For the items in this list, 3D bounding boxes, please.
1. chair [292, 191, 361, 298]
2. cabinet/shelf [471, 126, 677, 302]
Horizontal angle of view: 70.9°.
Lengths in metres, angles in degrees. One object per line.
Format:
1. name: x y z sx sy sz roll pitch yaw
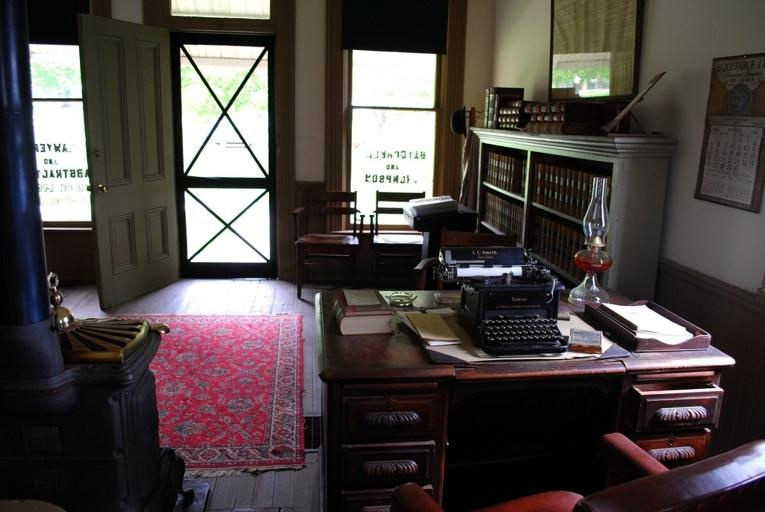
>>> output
1. chair: -0.637 -0.183 6.018 0.716 1.068 0.984 -2 15 -4
2. cabinet/shelf: 1.310 -0.278 3.541 0.356 1.137 1.366 0 8 -6
